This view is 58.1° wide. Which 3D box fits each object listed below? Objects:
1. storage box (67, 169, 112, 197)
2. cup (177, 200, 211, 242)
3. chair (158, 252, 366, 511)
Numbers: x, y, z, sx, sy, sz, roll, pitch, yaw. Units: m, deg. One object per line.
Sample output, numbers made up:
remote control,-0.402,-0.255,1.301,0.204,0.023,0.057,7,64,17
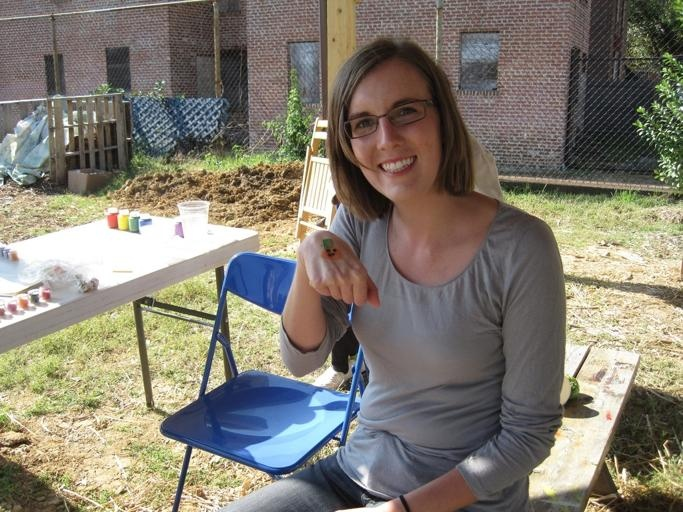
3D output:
storage box,-4.490,-1.294,10.936,0.518,0.364,0.564,8,12,19
cup,-0.937,-0.230,4.062,0.220,0.247,0.228,1,14,0
chair,-0.420,0.669,3.144,0.908,1.359,0.881,10,20,22
